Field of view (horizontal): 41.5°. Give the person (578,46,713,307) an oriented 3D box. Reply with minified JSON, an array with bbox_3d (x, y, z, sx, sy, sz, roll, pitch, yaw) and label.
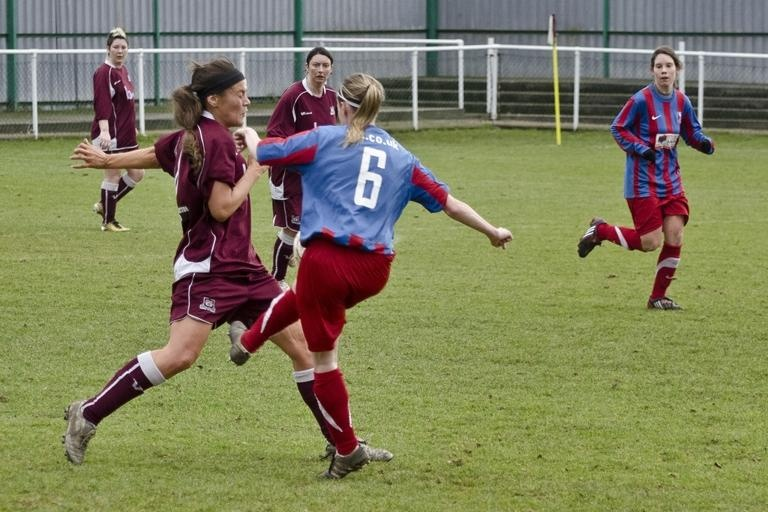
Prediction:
[{"bbox_3d":[2.721,-0.803,10.252,1.129,2.557,0.824,3,7,18],"label":"person"}]

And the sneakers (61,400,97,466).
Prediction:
[{"bbox_3d":[-2.218,1.283,7.347,0.226,0.453,0.214,-3,8,-26],"label":"sneakers"}]

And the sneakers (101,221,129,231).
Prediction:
[{"bbox_3d":[-3.300,-0.361,12.462,0.321,0.135,0.131,-1,5,-1],"label":"sneakers"}]

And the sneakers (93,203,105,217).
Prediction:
[{"bbox_3d":[-3.565,-0.567,12.706,0.140,0.150,0.070,-29,10,15],"label":"sneakers"}]

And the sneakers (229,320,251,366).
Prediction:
[{"bbox_3d":[-1.066,0.610,7.535,0.149,0.357,0.129,-18,-36,32],"label":"sneakers"}]

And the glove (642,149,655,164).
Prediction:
[{"bbox_3d":[2.628,-0.984,10.056,0.101,0.122,0.132,9,26,14],"label":"glove"}]

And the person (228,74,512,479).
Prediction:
[{"bbox_3d":[-0.207,0.150,7.350,1.424,2.880,0.436,-2,7,-16],"label":"person"}]

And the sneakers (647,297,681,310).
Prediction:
[{"bbox_3d":[2.754,0.475,10.056,0.351,0.144,0.121,0,7,3],"label":"sneakers"}]
